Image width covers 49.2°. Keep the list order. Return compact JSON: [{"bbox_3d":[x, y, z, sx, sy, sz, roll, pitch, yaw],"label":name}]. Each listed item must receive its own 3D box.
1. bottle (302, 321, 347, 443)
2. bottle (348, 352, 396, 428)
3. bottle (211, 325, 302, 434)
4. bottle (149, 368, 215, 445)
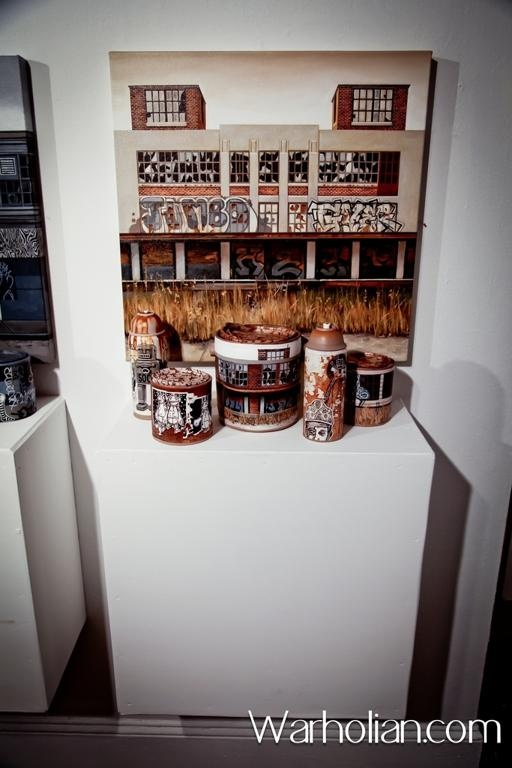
[{"bbox_3d":[0.116,0.000,0.953,0.070,0.191,0.068,-1,17,0],"label":"bottle"},{"bbox_3d":[0.199,0.015,1.063,0.108,0.125,0.113,0,10,3],"label":"bottle"},{"bbox_3d":[0.005,-0.010,1.069,0.166,0.184,0.173,-1,14,-2],"label":"bottle"},{"bbox_3d":[-0.125,0.039,1.001,0.107,0.132,0.116,1,10,1],"label":"bottle"}]
